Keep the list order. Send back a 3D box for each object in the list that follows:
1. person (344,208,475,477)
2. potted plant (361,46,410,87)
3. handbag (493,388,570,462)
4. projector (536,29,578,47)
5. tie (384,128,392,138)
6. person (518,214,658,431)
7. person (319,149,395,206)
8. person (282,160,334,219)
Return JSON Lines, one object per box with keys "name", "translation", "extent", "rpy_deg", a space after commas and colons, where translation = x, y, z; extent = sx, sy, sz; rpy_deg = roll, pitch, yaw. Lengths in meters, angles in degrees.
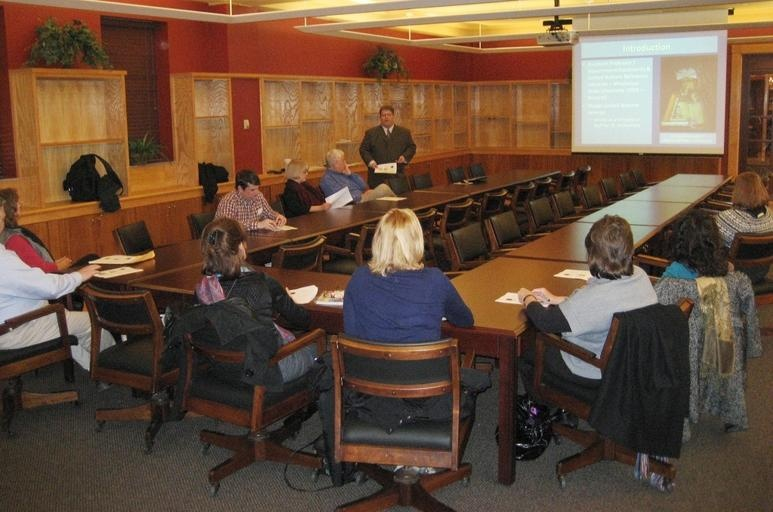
{"name": "person", "translation": [0.161, 0.537, 3.368], "extent": [0.785, 1.559, 0.625], "rpy_deg": [-3, 14, -5]}
{"name": "potted plant", "translation": [-0.015, -3.598, 11.204], "extent": [0.754, 0.577, 0.813], "rpy_deg": [-1, 10, -5]}
{"name": "handbag", "translation": [0.979, 1.106, 3.962], "extent": [0.322, 0.509, 0.230], "rpy_deg": [24, -1, 16]}
{"name": "projector", "translation": [2.364, -3.034, 8.293], "extent": [0.275, 0.121, 0.375], "rpy_deg": [3, 9, 26]}
{"name": "tie", "translation": [0.023, -1.958, 9.432], "extent": [0.111, 0.155, 0.042], "rpy_deg": [-1, -6, -1]}
{"name": "person", "translation": [1.179, 0.341, 3.598], "extent": [0.817, 1.132, 0.530], "rpy_deg": [4, 15, 25]}
{"name": "person", "translation": [-0.318, -1.005, 8.081], "extent": [1.074, 0.740, 0.529], "rpy_deg": [4, 27, 7]}
{"name": "person", "translation": [-0.888, -0.864, 7.594], "extent": [0.737, 0.877, 0.656], "rpy_deg": [-1, 20, 0]}
